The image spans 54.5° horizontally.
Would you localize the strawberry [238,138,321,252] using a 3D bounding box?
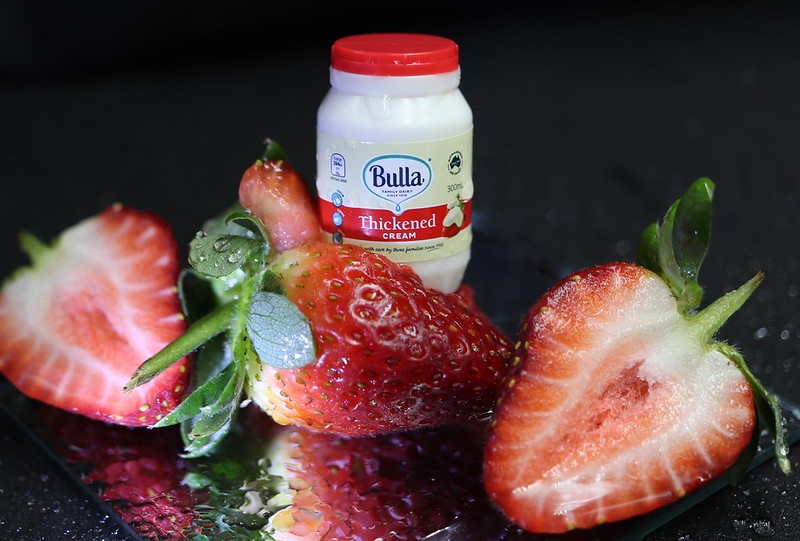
[{"bbox_3d":[-0.192,-0.097,1.212,0.099,0.187,0.067,-17,-8,-21],"label":"strawberry"}]
